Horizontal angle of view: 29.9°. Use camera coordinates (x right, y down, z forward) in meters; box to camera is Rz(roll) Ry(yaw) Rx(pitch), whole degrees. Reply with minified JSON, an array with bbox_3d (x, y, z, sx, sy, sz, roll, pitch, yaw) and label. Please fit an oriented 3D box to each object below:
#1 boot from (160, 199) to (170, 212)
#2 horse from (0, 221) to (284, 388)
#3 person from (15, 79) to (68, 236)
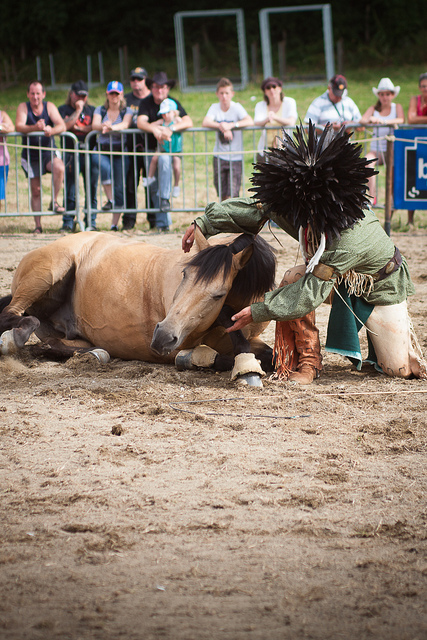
[{"bbox_3d":[-0.609,-1.426,9.687,0.094,0.138,0.245,-1,-5,-4],"label":"boot"},{"bbox_3d":[-0.463,-0.145,5.082,1.861,0.767,0.957,13,0,35],"label":"horse"},{"bbox_3d":[-1.996,-1.895,9.177,0.540,1.755,1.465,-3,7,-12],"label":"person"}]
